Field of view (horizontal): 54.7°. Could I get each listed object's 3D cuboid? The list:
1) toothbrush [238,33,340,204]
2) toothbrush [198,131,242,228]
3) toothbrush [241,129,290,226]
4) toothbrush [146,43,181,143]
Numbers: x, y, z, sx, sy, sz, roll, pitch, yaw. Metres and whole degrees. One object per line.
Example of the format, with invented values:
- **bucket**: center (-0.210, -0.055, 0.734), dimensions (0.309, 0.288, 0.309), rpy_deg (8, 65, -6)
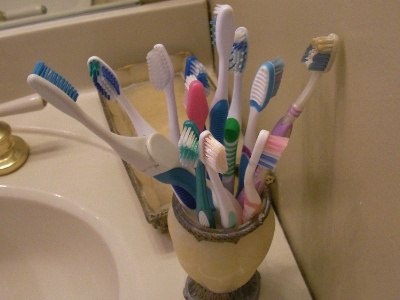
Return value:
- **toothbrush**: center (0.106, -0.036, 0.498), dimensions (0.078, 0.207, 0.152), rpy_deg (28, 49, 35)
- **toothbrush**: center (0.027, 0.044, 0.461), dimensions (0.031, 0.151, 0.042), rpy_deg (-4, 50, 13)
- **toothbrush**: center (0.072, 0.023, 0.488), dimensions (0.059, 0.109, 0.062), rpy_deg (11, 19, 24)
- **toothbrush**: center (-0.057, -0.077, 0.512), dimensions (0.043, 0.108, 0.055), rpy_deg (-7, 34, -17)
